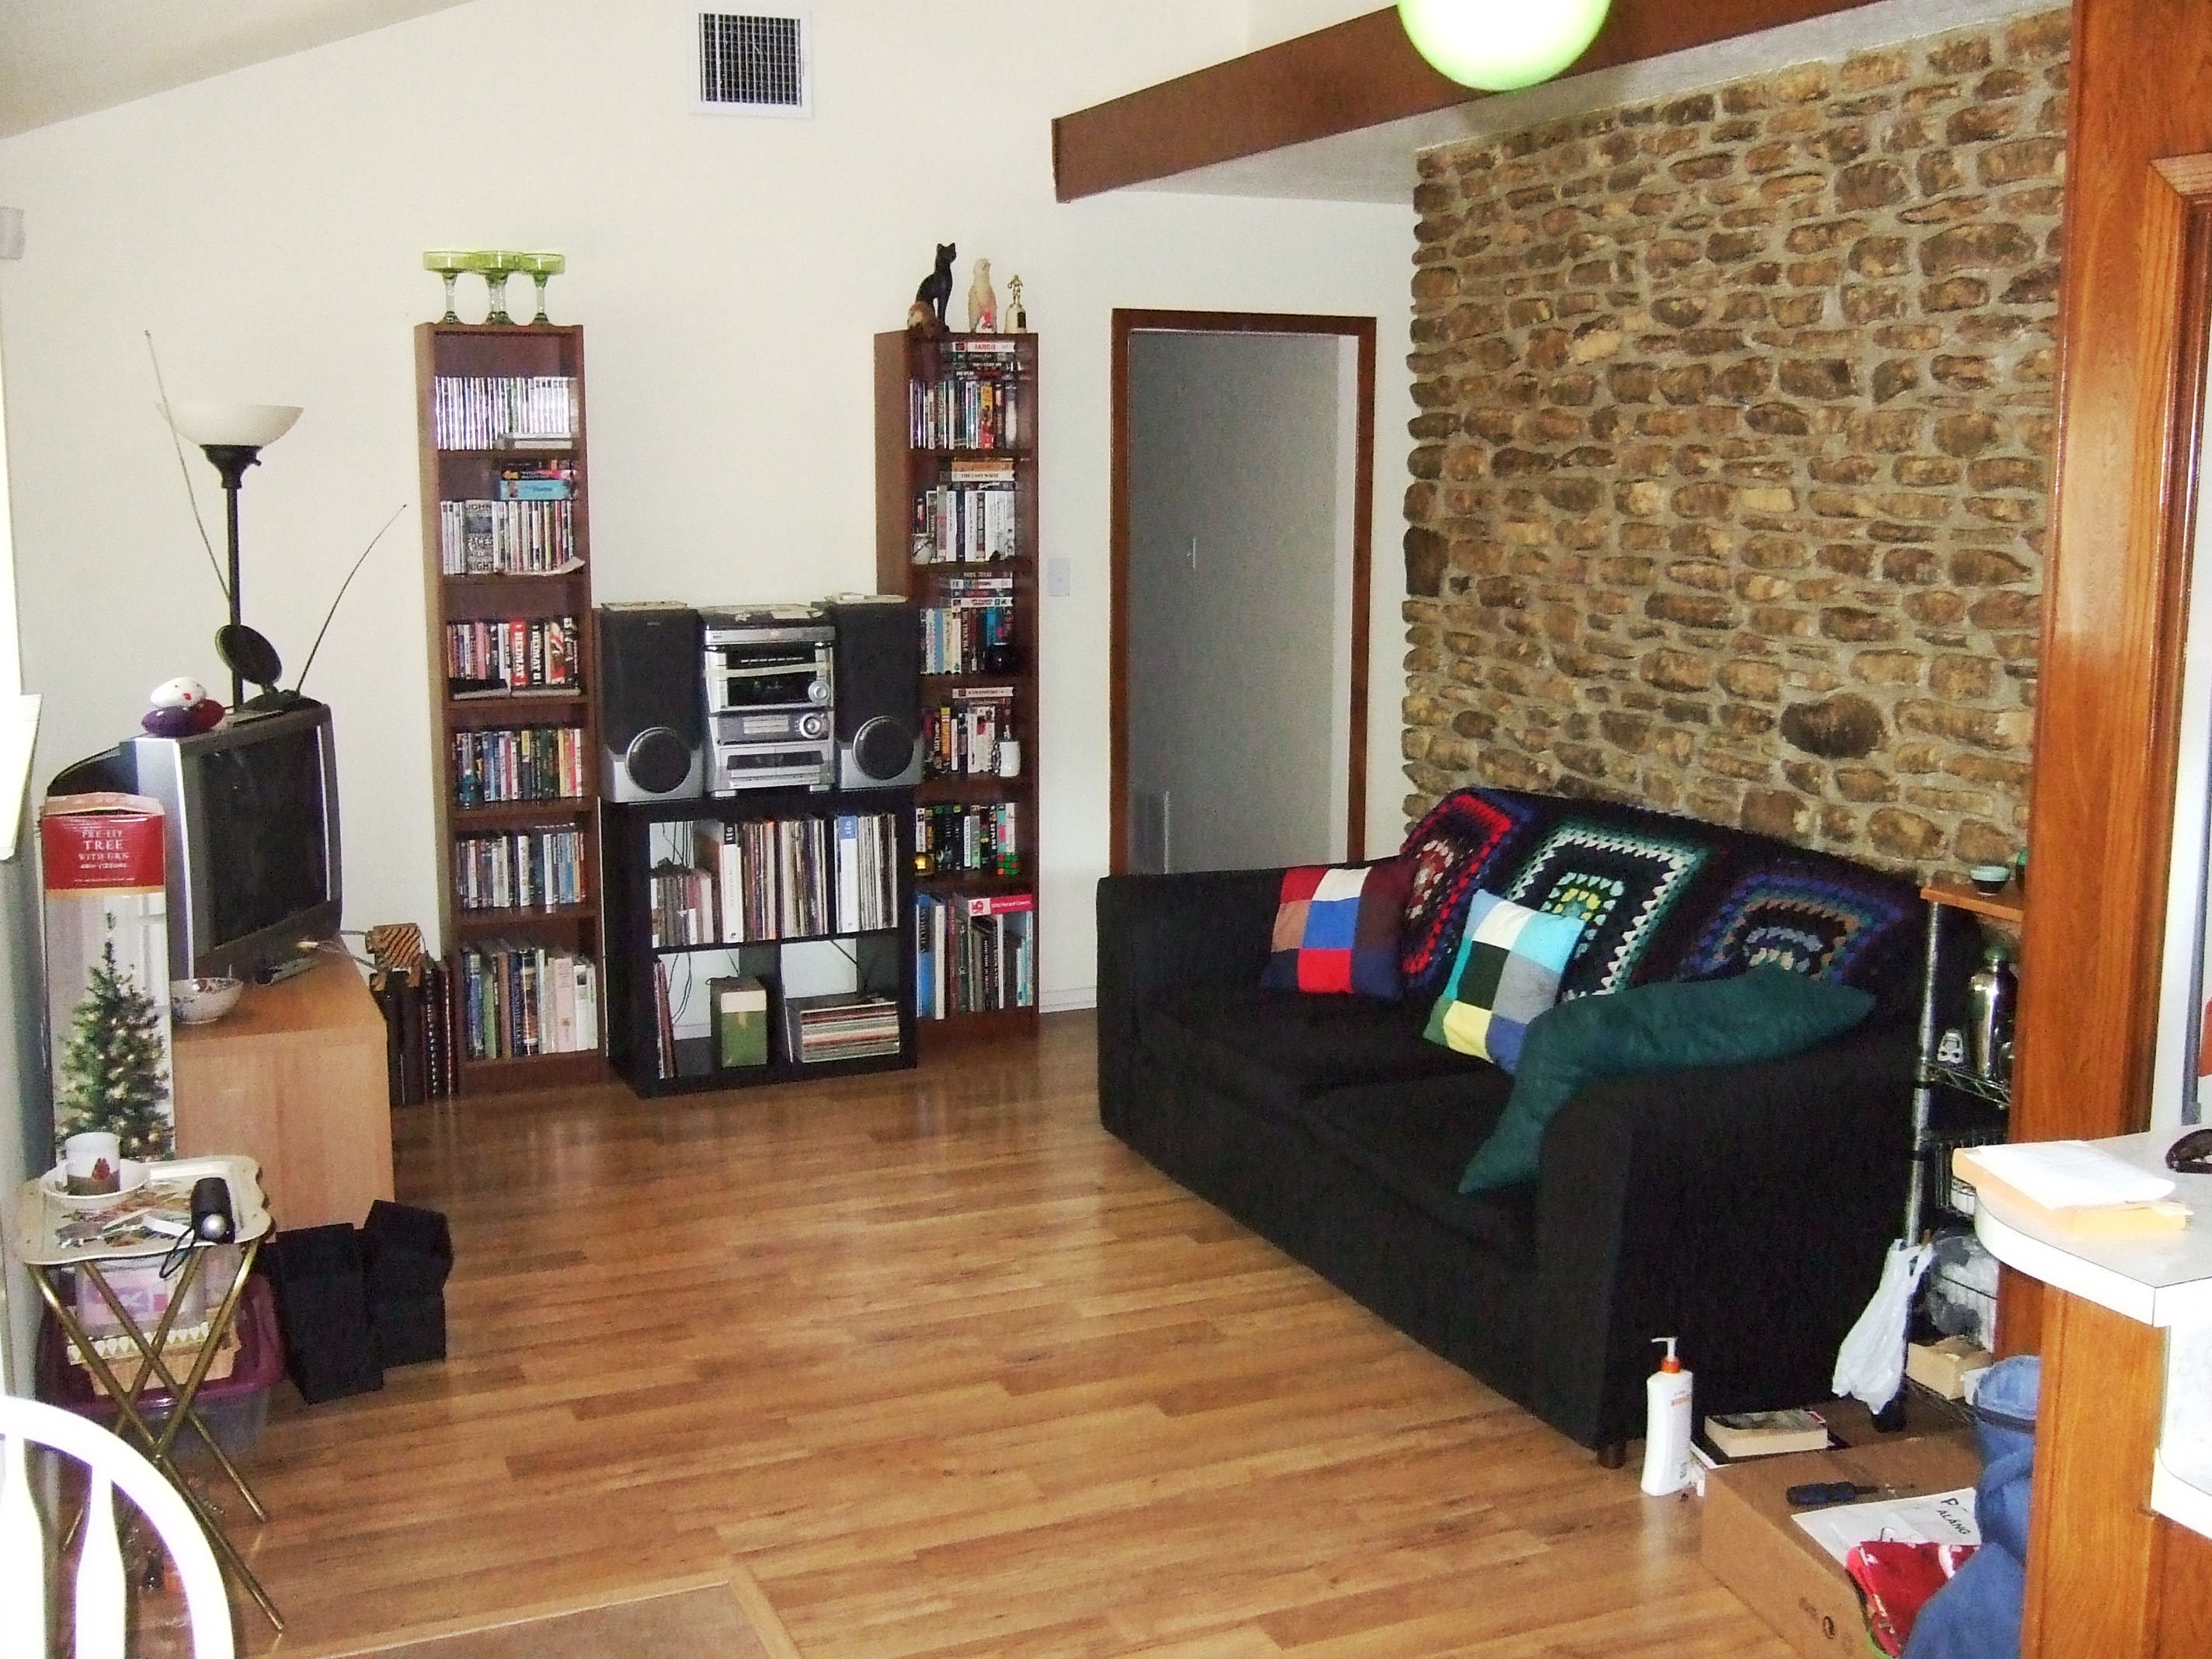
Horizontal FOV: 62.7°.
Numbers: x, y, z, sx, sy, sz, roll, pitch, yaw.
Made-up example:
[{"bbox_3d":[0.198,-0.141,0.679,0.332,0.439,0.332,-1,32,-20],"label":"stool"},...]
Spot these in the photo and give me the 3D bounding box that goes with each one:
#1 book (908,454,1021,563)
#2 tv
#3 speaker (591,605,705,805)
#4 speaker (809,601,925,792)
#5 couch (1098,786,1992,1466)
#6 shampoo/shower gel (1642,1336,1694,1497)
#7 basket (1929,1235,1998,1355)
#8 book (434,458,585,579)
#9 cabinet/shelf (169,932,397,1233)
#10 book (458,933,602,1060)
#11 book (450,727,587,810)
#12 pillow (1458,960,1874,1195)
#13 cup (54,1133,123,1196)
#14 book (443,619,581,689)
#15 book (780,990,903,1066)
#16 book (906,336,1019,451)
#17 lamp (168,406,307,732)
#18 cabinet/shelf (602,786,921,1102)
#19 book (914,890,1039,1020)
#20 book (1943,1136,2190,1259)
[{"bbox_3d":[-0.478,-1.097,6.215,0.373,0.343,0.090,-1,12,-6],"label":"book"},{"bbox_3d":[-2.321,0.059,4.573,0.527,0.673,0.797,-1,8,4],"label":"tv"},{"bbox_3d":[-1.422,-0.387,5.688,0.330,0.614,0.113,-3,13,-15],"label":"speaker"},{"bbox_3d":[-0.771,-0.444,5.955,0.285,0.624,0.174,-2,13,-11],"label":"speaker"},{"bbox_3d":[0.966,0.586,4.723,1.099,1.165,2.261,-5,11,-26],"label":"couch"},{"bbox_3d":[1.107,1.164,3.572,0.097,0.306,0.100,4,13,16],"label":"shampoo/shower gel"},{"bbox_3d":[1.836,0.991,3.915,0.148,0.233,0.145,-1,-13,39],"label":"basket"},{"bbox_3d":[-1.872,-0.981,5.688,0.428,0.359,0.260,-4,13,-20],"label":"book"},{"bbox_3d":[-1.968,0.393,4.431,0.411,0.669,1.142,-1,11,-17],"label":"cabinet/shelf"},{"bbox_3d":[-1.854,0.566,5.816,0.329,0.430,0.444,-3,10,-24],"label":"book"},{"bbox_3d":[-1.885,-0.198,5.765,0.431,0.234,0.274,-2,5,-21],"label":"book"},{"bbox_3d":[1.193,0.556,3.849,0.818,0.485,0.307,-4,13,-18],"label":"pillow"},{"bbox_3d":[-1.850,0.614,3.309,0.076,0.102,0.121,3,11,0],"label":"cup"},{"bbox_3d":[-1.879,-0.562,5.750,0.402,0.222,0.250,0,7,-23],"label":"book"},{"bbox_3d":[-0.853,0.657,5.956,0.299,0.145,0.216,-2,3,-28],"label":"book"},{"bbox_3d":[-0.475,-1.468,6.129,0.377,0.359,0.135,-1,12,-6],"label":"book"},{"bbox_3d":[-2.401,-0.746,5.086,0.293,0.872,1.057,-6,14,-25],"label":"lamp"},{"bbox_3d":[-1.131,0.360,5.884,0.968,0.930,0.338,0,6,-17],"label":"cabinet/shelf"},{"bbox_3d":[-0.505,0.423,6.477,0.627,0.363,0.632,1,7,-25],"label":"book"},{"bbox_3d":[1.158,0.430,2.181,0.233,0.059,0.220,-2,12,-11],"label":"book"}]
